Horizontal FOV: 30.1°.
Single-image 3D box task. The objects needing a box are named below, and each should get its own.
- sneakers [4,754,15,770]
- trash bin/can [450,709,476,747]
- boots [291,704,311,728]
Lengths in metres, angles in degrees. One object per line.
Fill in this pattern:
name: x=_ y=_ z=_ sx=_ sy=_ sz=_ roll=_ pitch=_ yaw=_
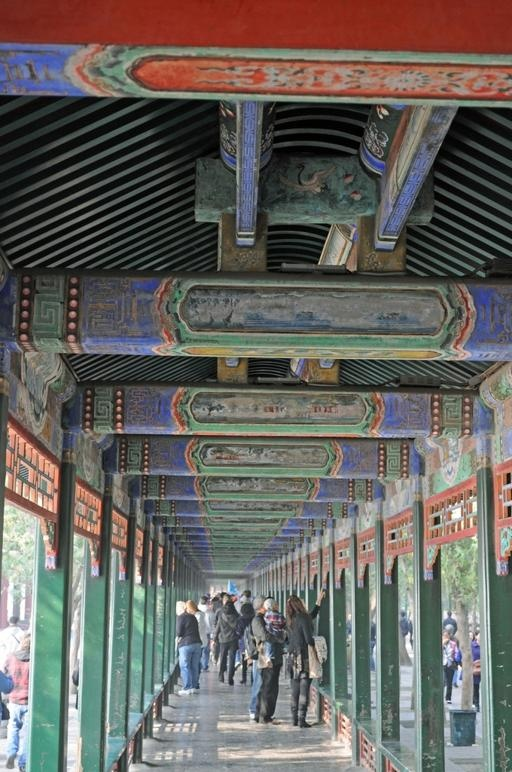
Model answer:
sneakers: x=-2.174 y=3.326 z=8.400 sx=0.047 sy=0.103 sz=0.133 roll=1 pitch=0 yaw=-25
trash bin/can: x=2.282 y=3.786 z=10.508 sx=0.275 sy=0.368 sz=0.430 roll=-3 pitch=-19 yaw=11
boots: x=0.553 y=4.390 z=12.647 sx=0.246 sy=0.348 sz=0.281 roll=-6 pitch=-7 yaw=34
